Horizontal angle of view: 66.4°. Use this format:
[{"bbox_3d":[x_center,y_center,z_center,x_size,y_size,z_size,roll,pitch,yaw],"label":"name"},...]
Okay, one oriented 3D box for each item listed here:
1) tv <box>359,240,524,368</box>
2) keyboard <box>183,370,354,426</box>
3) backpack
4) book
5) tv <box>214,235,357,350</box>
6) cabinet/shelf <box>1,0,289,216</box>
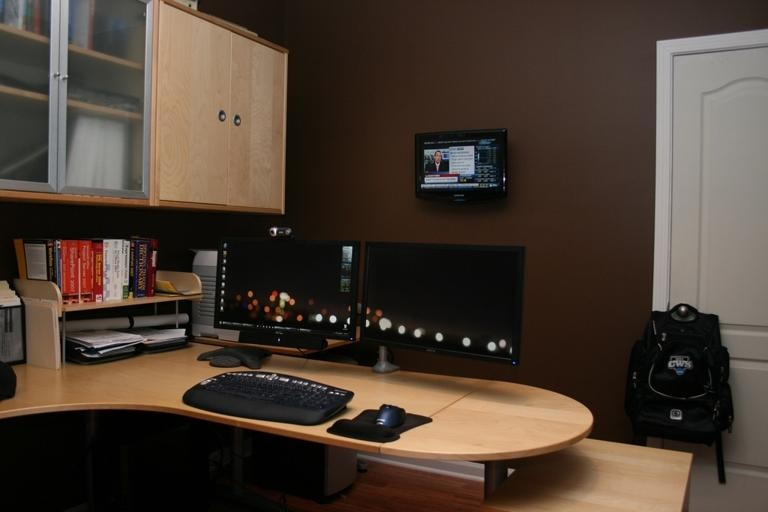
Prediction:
[{"bbox_3d":[0.263,0.202,2.823,0.825,0.544,0.079,2,1,28],"label":"tv"},{"bbox_3d":[-0.521,0.629,2.629,0.723,0.135,0.283,3,3,18],"label":"keyboard"},{"bbox_3d":[1.703,0.693,3.412,0.589,0.682,0.403,0,13,23],"label":"backpack"},{"bbox_3d":[-1.646,0.075,3.310,0.700,0.345,0.222,-1,4,-39],"label":"book"},{"bbox_3d":[-0.502,0.183,3.059,0.914,0.612,0.252,1,3,28],"label":"tv"},{"bbox_3d":[-1.388,-0.818,3.305,0.485,0.902,1.525,-1,-3,32],"label":"cabinet/shelf"}]
